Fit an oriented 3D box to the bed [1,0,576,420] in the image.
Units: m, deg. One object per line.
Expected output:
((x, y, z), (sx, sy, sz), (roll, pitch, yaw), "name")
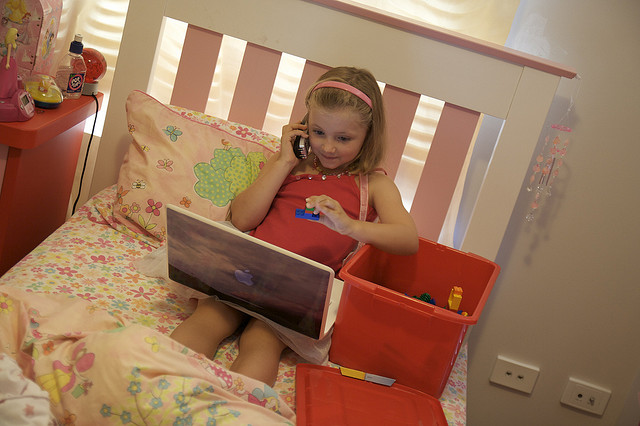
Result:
((-0.101, -0.080, 1.467), (0.986, 0.813, 1.200), (14, 44, 6), "bed")

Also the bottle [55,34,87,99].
((-0.938, -0.551, 1.657), (0.100, 0.239, 0.102), (15, 10, -3), "bottle")

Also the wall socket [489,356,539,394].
((0.850, 0.708, 1.915), (0.181, 0.138, 0.014), (17, 11, 4), "wall socket")

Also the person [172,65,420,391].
((0.007, -0.047, 1.477), (0.564, 0.657, 1.114), (26, 44, 6), "person")

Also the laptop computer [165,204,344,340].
((-0.184, 0.265, 1.302), (0.514, 0.346, 0.364), (21, 39, 14), "laptop computer")

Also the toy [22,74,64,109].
((-0.987, -0.435, 1.585), (0.135, 0.099, 0.137), (14, 13, -12), "toy")

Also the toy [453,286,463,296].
((0.428, 0.242, 1.358), (0.023, 0.022, 0.023), (7, 14, 26), "toy")

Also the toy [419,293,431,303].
((0.358, 0.279, 1.461), (0.028, 0.016, 0.038), (3, 13, 0), "toy")

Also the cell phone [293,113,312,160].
((-0.057, -0.253, 1.540), (0.045, 0.026, 0.150), (34, 36, -27), "cell phone")
